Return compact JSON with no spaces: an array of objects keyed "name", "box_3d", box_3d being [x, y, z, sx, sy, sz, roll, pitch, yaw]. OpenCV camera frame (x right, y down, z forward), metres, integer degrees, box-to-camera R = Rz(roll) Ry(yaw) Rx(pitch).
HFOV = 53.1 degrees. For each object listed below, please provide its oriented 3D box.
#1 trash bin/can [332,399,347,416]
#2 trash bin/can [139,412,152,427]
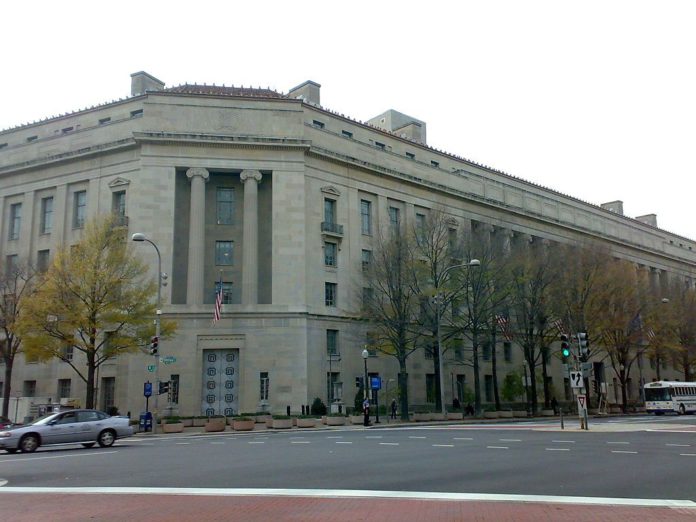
[{"name":"trash bin/can","box_3d":[-0.665,11.545,54.825,1.399,1.313,0.737,2,-5,-18]},{"name":"trash bin/can","box_3d":[-12.669,10.044,43.999,0.588,0.914,1.259,7,-18,-27]}]
